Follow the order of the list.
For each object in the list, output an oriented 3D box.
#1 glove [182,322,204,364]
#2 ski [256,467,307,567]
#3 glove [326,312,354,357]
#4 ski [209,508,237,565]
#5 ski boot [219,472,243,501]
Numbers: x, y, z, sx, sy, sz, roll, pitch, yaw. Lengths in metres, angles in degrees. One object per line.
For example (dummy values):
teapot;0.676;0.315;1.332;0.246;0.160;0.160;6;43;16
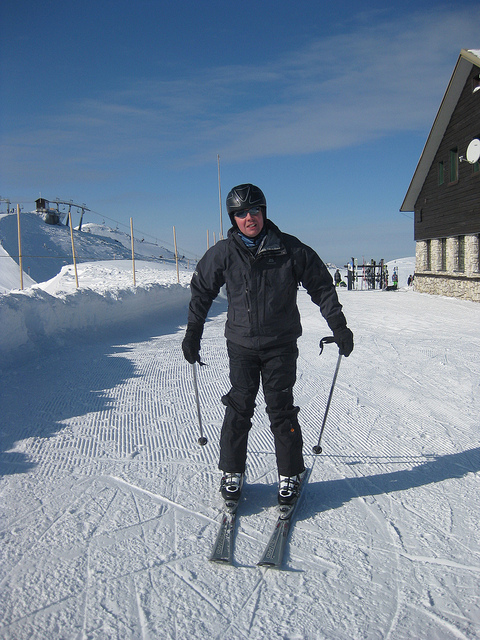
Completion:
glove;-0.302;0.150;2.980;0.147;0.246;0.066;9;-4;-20
ski;0.237;1.098;2.598;0.213;0.102;1.362;-1;4;10
glove;0.651;0.087;2.959;0.159;0.275;0.108;-16;14;21
ski;-0.065;1.098;2.402;0.113;0.662;0.065;14;42;4
ski boot;-0.048;0.976;2.793;0.123;0.130;0.164;0;6;1
